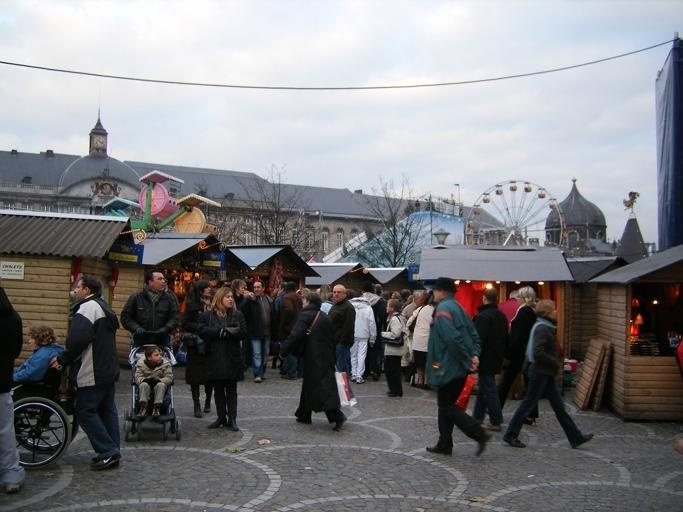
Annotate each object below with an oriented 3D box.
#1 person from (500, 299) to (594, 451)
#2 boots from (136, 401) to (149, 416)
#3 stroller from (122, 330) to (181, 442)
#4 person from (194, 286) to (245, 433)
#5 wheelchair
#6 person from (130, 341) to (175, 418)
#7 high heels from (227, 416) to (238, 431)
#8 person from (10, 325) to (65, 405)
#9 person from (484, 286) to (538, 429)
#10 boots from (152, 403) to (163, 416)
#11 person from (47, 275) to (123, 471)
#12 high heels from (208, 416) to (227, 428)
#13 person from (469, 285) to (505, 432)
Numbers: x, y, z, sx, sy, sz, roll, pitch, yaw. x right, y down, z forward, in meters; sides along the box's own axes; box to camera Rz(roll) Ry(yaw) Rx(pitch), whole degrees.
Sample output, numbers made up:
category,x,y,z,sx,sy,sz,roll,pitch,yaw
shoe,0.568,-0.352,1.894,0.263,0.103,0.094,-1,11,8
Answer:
category,x,y,z,sx,sy,sz,roll,pitch,yaw
person,3.083,1.777,11.879,1.154,2.141,0.881,2,3,17
boots,-2.881,2.234,11.517,0.161,0.213,0.180,0,2,-15
stroller,-2.786,2.042,11.765,0.807,1.378,0.779,1,2,-10
person,-1.832,1.651,12.323,0.674,2.032,0.790,0,-1,-32
wheelchair,-4.012,2.162,10.624,0.977,1.348,0.841,4,3,-16
person,-2.776,1.862,11.723,0.556,1.030,0.591,6,2,-22
high heels,-1.668,2.619,12.295,0.162,0.187,0.377,0,2,-16
person,-4.229,1.477,10.618,0.820,1.302,0.851,3,-5,-13
person,2.953,1.722,13.830,0.735,2.219,0.909,2,4,11
boots,-2.687,2.272,11.530,0.073,0.102,0.237,4,-38,-5
person,-3.262,1.542,10.364,0.703,2.486,0.509,0,3,-19
high heels,-1.928,2.638,12.423,0.316,0.237,0.126,5,-4,-14
person,2.417,1.613,12.673,0.555,2.137,0.505,2,-4,-10
